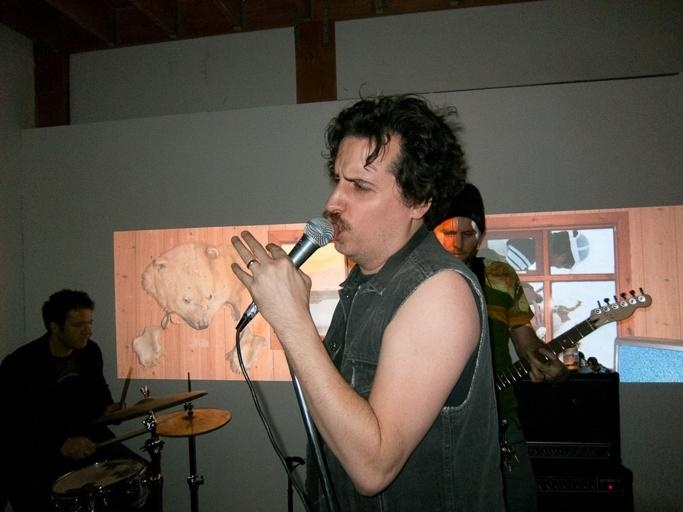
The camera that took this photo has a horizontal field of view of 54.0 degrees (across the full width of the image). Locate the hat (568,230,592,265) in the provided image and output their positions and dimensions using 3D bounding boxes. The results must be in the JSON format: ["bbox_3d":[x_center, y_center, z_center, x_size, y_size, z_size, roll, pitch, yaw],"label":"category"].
[{"bbox_3d":[1.705,-0.060,4.833,0.210,0.225,0.165,10,4,19],"label":"hat"}]

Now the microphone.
[{"bbox_3d":[-0.289,0.113,3.855,0.231,0.865,0.210,36,-7,17],"label":"microphone"}]

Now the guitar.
[{"bbox_3d":[1.612,0.606,4.582,1.175,0.190,0.163,-30,-10,-1],"label":"guitar"}]
